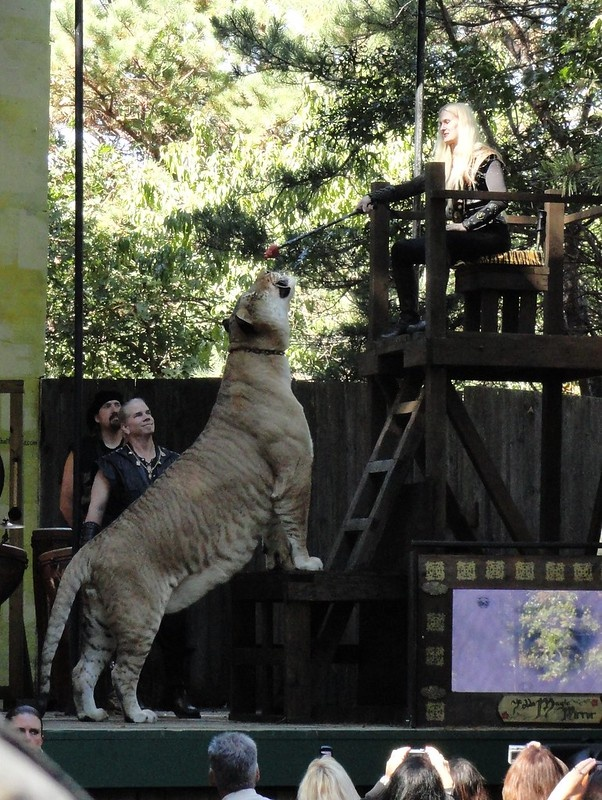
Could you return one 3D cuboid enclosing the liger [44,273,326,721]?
[{"bbox_3d":[-0.621,0.496,13.248,1.446,2.501,0.494,1,-2,-25],"label":"liger"}]

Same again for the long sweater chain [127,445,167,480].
[{"bbox_3d":[-0.884,0.370,13.895,0.169,0.101,0.219,7,36,-35],"label":"long sweater chain"}]

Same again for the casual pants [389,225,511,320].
[{"bbox_3d":[0.905,-0.759,14.172,0.720,0.753,0.426,5,-6,-15],"label":"casual pants"}]

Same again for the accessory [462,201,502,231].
[{"bbox_3d":[1.037,-1.059,13.772,0.129,0.088,0.247,29,-48,-32],"label":"accessory"}]
